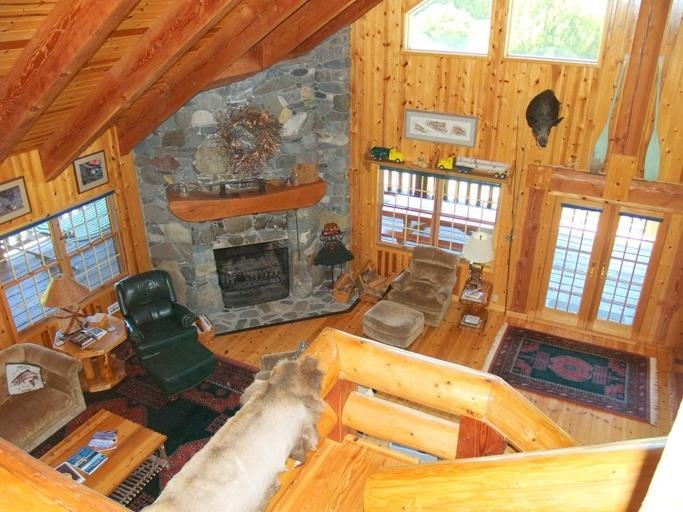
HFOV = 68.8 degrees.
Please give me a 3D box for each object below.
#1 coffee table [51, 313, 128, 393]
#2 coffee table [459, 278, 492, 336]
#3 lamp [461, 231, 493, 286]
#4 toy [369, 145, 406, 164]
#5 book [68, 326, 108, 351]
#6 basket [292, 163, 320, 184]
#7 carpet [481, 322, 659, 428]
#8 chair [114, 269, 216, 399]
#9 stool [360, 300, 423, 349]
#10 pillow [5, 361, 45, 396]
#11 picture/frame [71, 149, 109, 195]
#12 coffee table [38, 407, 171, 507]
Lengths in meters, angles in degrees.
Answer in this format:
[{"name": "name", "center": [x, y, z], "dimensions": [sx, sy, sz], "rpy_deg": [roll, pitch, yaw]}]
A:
[{"name": "coffee table", "center": [-3.517, 1.331, 7.150], "dimensions": [1.250, 0.754, 1.039], "rpy_deg": [3, 39, -5]}, {"name": "coffee table", "center": [2.225, 0.846, 8.232], "dimensions": [0.507, 0.511, 0.793], "rpy_deg": [10, 37, 18]}, {"name": "lamp", "center": [2.178, 0.082, 8.034], "dimensions": [0.466, 0.941, 0.627], "rpy_deg": [6, 20, 13]}, {"name": "toy", "center": [0.746, -1.687, 8.309], "dimensions": [0.556, 0.165, 0.252], "rpy_deg": [2, 37, 2]}, {"name": "book", "center": [-3.463, 1.106, 6.735], "dimensions": [0.329, 0.065, 0.299], "rpy_deg": [14, 28, 20]}, {"name": "basket", "center": [-0.573, -1.355, 8.134], "dimensions": [0.408, 0.220, 0.309], "rpy_deg": [-25, 40, -35]}, {"name": "carpet", "center": [3.408, 1.673, 7.246], "dimensions": [2.073, 0.345, 1.415], "rpy_deg": [9, 18, 25]}, {"name": "chair", "center": [-2.516, 1.050, 7.087], "dimensions": [1.000, 0.970, 1.632], "rpy_deg": [-17, 46, -34]}, {"name": "stool", "center": [0.901, 1.145, 7.849], "dimensions": [0.706, 0.349, 0.815], "rpy_deg": [-19, 5, -28]}, {"name": "pillow", "center": [-3.895, 1.464, 6.088], "dimensions": [0.390, 0.382, 0.264], "rpy_deg": [-10, 22, -29]}, {"name": "picture/frame", "center": [-3.633, -1.210, 7.106], "dimensions": [0.050, 0.492, 0.662], "rpy_deg": [20, 33, 22]}, {"name": "coffee table", "center": [-2.577, 2.084, 5.357], "dimensions": [0.982, 0.335, 0.804], "rpy_deg": [9, 19, 26]}]
